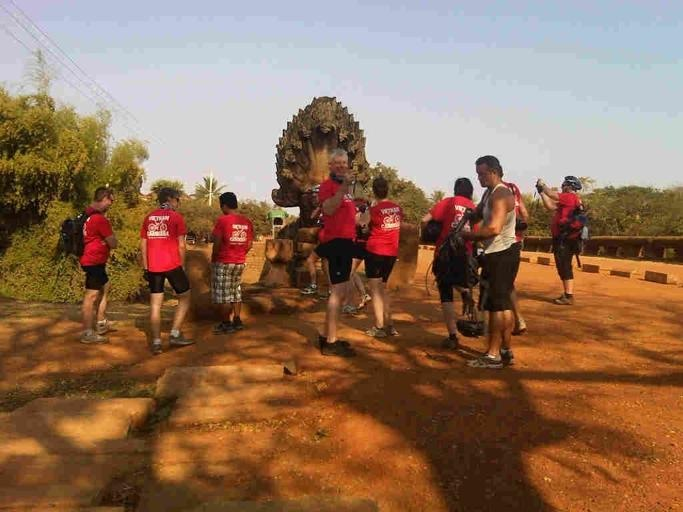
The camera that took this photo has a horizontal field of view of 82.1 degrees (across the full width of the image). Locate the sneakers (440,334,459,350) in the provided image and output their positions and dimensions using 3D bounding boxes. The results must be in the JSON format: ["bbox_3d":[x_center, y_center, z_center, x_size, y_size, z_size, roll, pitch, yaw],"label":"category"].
[{"bbox_3d":[1.501,1.152,5.354,0.125,0.156,0.328,0,4,-11],"label":"sneakers"}]

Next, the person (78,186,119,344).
[{"bbox_3d":[-3.821,0.063,6.138,0.467,2.286,1.504,-1,5,-33],"label":"person"}]

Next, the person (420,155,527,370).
[{"bbox_3d":[1.766,0.067,4.549,0.687,2.468,0.564,3,5,7],"label":"person"}]

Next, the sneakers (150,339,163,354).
[{"bbox_3d":[-2.494,1.198,5.266,0.124,0.206,0.189,0,5,-23],"label":"sneakers"}]

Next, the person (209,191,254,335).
[{"bbox_3d":[-1.670,0.108,5.949,0.580,2.114,1.263,1,5,-15],"label":"person"}]

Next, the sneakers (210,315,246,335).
[{"bbox_3d":[-1.688,1.023,5.832,0.473,0.197,0.184,-2,3,-1],"label":"sneakers"}]

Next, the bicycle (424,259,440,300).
[{"bbox_3d":[2.076,0.591,9.062,0.292,1.351,0.342,-7,32,-1],"label":"bicycle"}]

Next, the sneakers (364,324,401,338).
[{"bbox_3d":[0.600,1.104,5.849,0.546,0.212,0.188,4,-3,-7],"label":"sneakers"}]

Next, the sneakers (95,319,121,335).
[{"bbox_3d":[-3.721,1.083,6.210,0.145,0.173,0.398,5,9,16],"label":"sneakers"}]

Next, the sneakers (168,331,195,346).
[{"bbox_3d":[-2.198,1.134,5.405,0.383,0.172,0.140,1,-1,-13],"label":"sneakers"}]

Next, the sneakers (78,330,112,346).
[{"bbox_3d":[-3.551,1.164,5.674,0.439,0.172,0.181,2,4,-13],"label":"sneakers"}]

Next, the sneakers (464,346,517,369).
[{"bbox_3d":[1.763,1.180,4.622,0.583,0.244,0.211,1,-1,-4],"label":"sneakers"}]

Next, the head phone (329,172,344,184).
[{"bbox_3d":[-0.060,-0.923,4.644,0.121,0.057,0.140,13,8,-32],"label":"head phone"}]

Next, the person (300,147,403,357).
[{"bbox_3d":[-0.034,-0.048,4.825,0.547,2.457,0.870,2,5,2],"label":"person"}]

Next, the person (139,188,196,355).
[{"bbox_3d":[-2.477,0.131,5.527,0.627,2.238,0.892,0,5,-26],"label":"person"}]

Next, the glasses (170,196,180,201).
[{"bbox_3d":[-2.436,-0.839,5.695,0.089,0.060,0.083,-2,8,-35],"label":"glasses"}]
